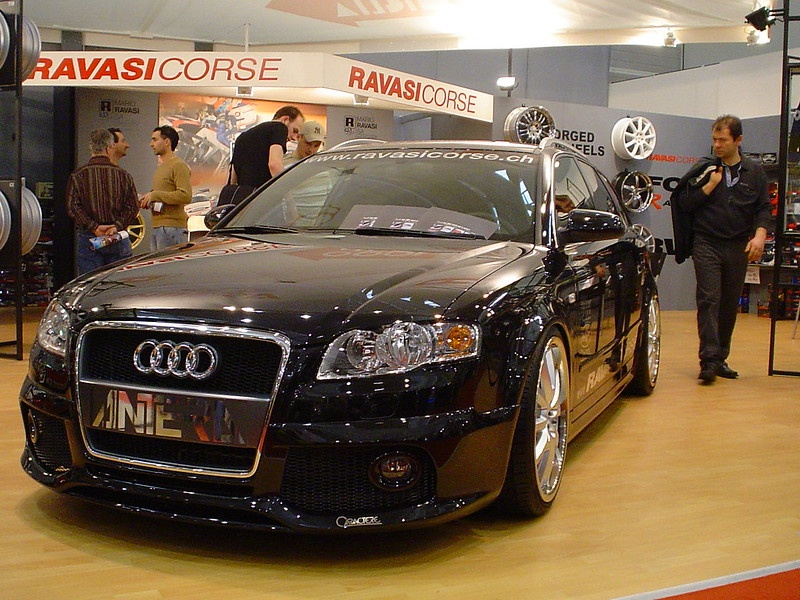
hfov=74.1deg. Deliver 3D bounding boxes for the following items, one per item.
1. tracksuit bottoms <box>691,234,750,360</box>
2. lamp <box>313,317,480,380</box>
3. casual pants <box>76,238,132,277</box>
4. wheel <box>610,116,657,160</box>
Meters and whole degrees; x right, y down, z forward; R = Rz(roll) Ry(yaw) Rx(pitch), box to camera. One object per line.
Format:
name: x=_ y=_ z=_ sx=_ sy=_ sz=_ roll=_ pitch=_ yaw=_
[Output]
tracksuit bottoms: x=3.102 y=-0.027 z=5.241 sx=0.571 sy=1.299 sz=0.461 roll=2 pitch=-1 yaw=-15
lamp: x=0.015 y=0.155 z=1.609 sx=0.516 sy=0.174 sz=0.047 roll=2 pitch=2 yaw=-19
casual pants: x=-2.813 y=-0.436 z=5.038 sx=0.615 sy=0.268 sz=0.168 roll=-25 pitch=19 yaw=-38
wheel: x=4.551 y=-3.216 z=10.446 sx=0.871 sy=0.797 sz=0.335 roll=5 pitch=-7 yaw=-22
